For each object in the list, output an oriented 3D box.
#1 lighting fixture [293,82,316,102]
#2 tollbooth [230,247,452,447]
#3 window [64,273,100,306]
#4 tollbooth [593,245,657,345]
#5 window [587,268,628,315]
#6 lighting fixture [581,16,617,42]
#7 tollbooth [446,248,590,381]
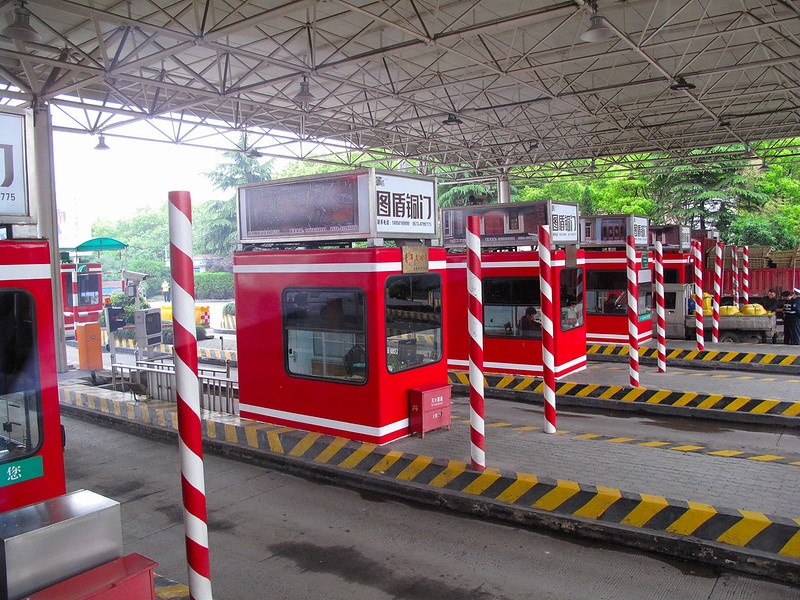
[{"bbox_3d":[-2.594,-5.632,16.361,0.453,0.563,0.756,-6,11,-8],"label":"lighting fixture"},{"bbox_3d":[-0.772,0.554,9.790,2.776,2.471,2.765,1,3,33],"label":"tollbooth"},{"bbox_3d":[-12.188,-0.438,23.263,0.643,1.091,1.274,0,1,21],"label":"window"},{"bbox_3d":[5.597,-0.096,16.636,2.672,2.816,1.475,1,1,34],"label":"tollbooth"},{"bbox_3d":[5.226,-0.212,15.292,1.083,0.988,0.382,7,3,33],"label":"window"},{"bbox_3d":[3.958,-5.471,12.132,0.612,0.489,0.879,2,12,27],"label":"lighting fixture"},{"bbox_3d":[2.491,0.197,12.848,2.587,2.619,2.570,8,10,14],"label":"tollbooth"}]
